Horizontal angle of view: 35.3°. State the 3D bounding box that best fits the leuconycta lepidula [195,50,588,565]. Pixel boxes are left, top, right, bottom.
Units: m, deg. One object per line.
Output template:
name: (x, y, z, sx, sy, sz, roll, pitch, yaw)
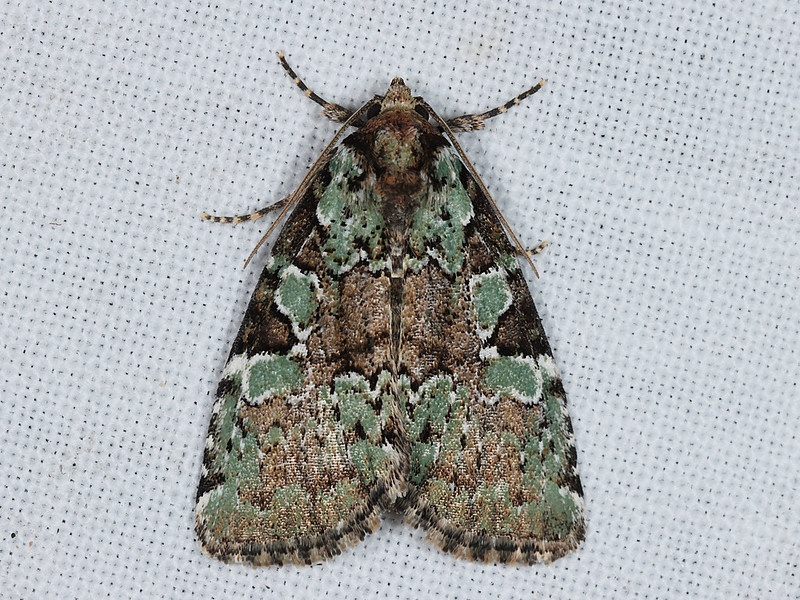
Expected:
leuconycta lepidula: (-0.009, -0.129, 3.313, 0.955, 0.343, 1.634, 2, 66, -1)
